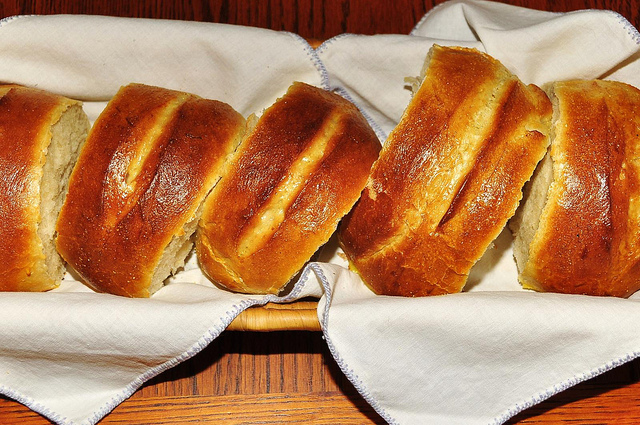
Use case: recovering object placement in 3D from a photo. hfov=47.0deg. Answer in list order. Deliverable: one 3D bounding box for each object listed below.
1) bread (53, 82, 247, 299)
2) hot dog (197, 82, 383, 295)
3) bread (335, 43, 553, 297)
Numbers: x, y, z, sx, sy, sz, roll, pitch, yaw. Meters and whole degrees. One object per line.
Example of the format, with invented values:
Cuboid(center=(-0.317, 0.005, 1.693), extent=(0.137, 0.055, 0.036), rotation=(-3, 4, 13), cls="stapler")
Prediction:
Cuboid(center=(-0.413, -0.072, 1.899), extent=(0.334, 0.564, 0.296), rotation=(27, -2, -3), cls="bread")
Cuboid(center=(-0.080, -0.066, 1.868), extent=(0.306, 0.588, 0.190), rotation=(35, 2, -3), cls="hot dog")
Cuboid(center=(0.298, -0.058, 1.829), extent=(0.392, 0.661, 0.206), rotation=(29, 5, 2), cls="bread")
